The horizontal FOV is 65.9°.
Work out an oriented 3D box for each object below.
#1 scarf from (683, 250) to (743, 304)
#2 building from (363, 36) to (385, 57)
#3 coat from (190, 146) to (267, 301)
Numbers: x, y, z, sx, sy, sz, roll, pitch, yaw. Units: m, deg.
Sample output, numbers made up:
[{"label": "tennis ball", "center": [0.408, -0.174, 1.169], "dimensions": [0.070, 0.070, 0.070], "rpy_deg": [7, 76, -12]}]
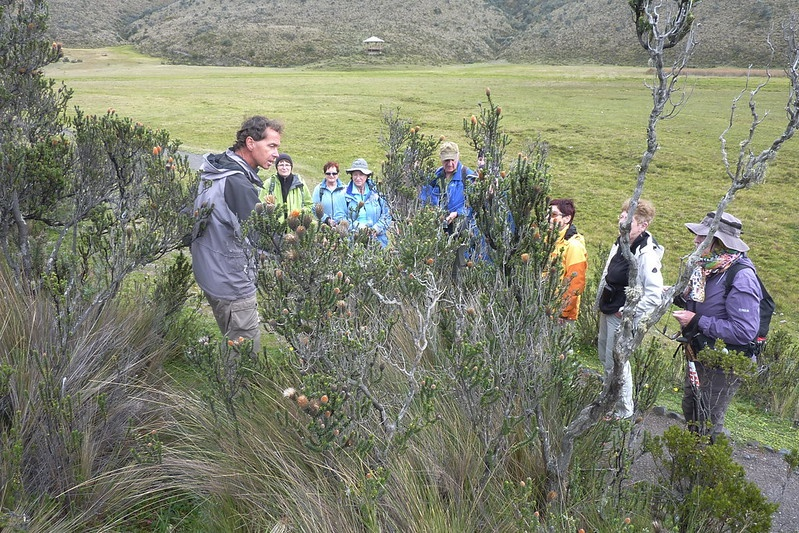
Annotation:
[{"label": "scarf", "center": [3.512, 0.120, 6.854], "dimensions": [0.273, 0.413, 0.408], "rpy_deg": [22, 20, -21]}, {"label": "building", "center": [-3.870, -34.577, 96.210], "dimensions": [3.140, 3.179, 9.478], "rpy_deg": [1, 15, -2]}, {"label": "coat", "center": [-1.774, -0.429, 6.457], "dimensions": [0.729, 1.503, 1.241], "rpy_deg": [-6, 23, -37]}]
